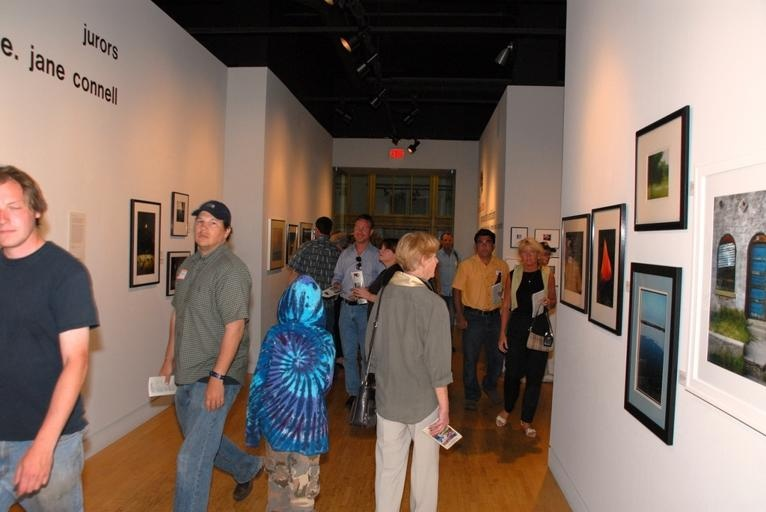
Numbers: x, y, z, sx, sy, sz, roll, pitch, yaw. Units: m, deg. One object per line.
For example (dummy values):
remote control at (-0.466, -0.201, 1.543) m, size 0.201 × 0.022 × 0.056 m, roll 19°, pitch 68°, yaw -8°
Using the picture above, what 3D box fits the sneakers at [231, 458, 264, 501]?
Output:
sneakers at (-1.066, 1.763, 4.297) m, size 0.170 × 0.440 × 0.154 m, roll 8°, pitch 17°, yaw -41°

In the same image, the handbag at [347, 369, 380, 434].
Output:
handbag at (-0.149, 1.112, 4.187) m, size 0.222 × 0.453 × 0.195 m, roll -1°, pitch 5°, yaw -18°

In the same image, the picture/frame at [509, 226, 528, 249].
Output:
picture/frame at (1.776, -0.232, 7.045) m, size 0.247 × 0.366 × 0.025 m, roll 2°, pitch -6°, yaw -3°

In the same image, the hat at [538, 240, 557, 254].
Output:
hat at (2.185, -0.104, 7.106) m, size 0.249 × 0.126 × 0.303 m, roll 1°, pitch 11°, yaw 12°

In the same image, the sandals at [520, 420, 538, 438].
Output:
sandals at (1.498, 1.769, 5.516) m, size 0.090 × 0.055 × 0.208 m, roll 2°, pitch 4°, yaw -8°

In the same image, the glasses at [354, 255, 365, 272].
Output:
glasses at (-0.253, 0.091, 5.955) m, size 0.088 × 0.178 × 0.039 m, roll -1°, pitch -5°, yaw -2°
